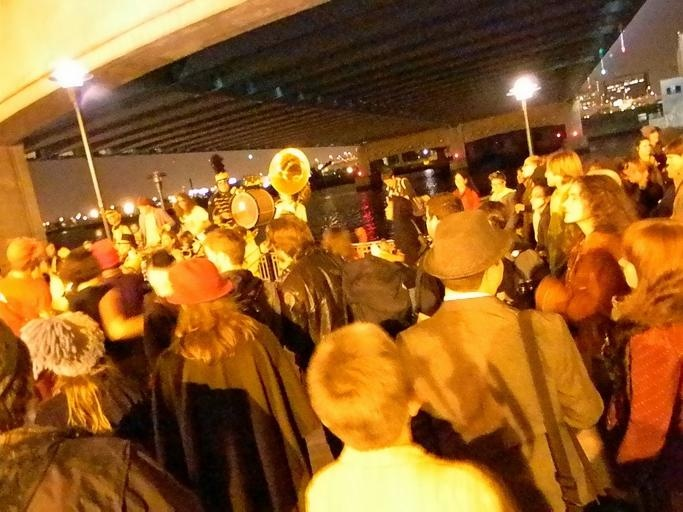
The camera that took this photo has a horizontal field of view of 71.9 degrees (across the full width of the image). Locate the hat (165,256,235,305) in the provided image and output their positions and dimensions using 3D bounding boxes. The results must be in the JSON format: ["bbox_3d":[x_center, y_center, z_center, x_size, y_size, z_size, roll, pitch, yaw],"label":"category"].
[{"bbox_3d":[-0.973,0.186,3.233,0.408,0.266,0.222,-14,10,-21],"label":"hat"}]

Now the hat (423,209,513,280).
[{"bbox_3d":[0.742,-0.071,2.798,0.440,0.420,0.388,3,7,-6],"label":"hat"}]

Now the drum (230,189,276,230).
[{"bbox_3d":[-1.425,-0.761,7.681,0.534,0.634,0.474,-5,11,29],"label":"drum"}]
